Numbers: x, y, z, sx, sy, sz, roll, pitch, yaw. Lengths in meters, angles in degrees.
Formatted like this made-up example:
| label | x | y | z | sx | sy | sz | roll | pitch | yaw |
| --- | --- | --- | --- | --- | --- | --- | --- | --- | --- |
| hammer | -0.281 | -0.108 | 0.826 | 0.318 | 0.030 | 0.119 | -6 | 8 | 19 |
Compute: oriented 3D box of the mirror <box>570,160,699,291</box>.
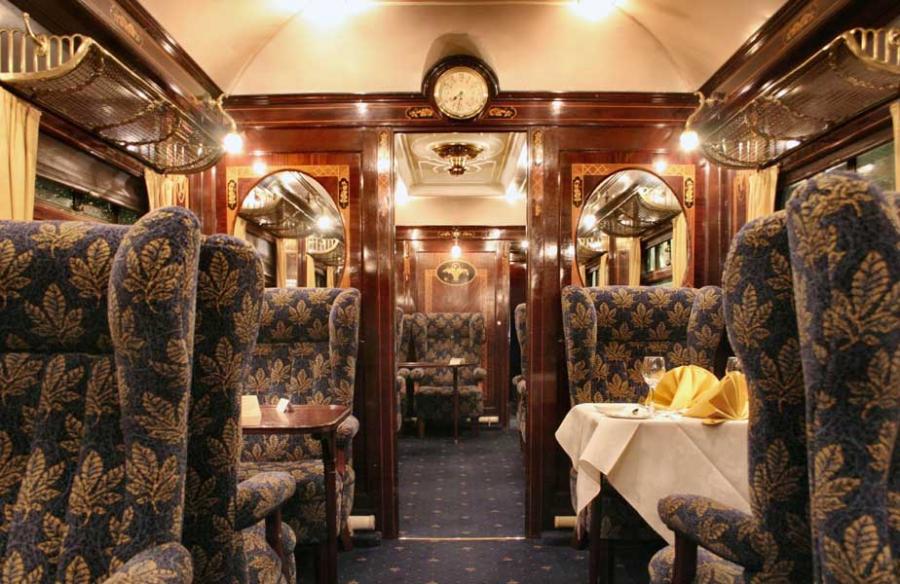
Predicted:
| label | x | y | z | sx | sy | sz | roll | pitch | yaw |
| --- | --- | --- | --- | --- | --- | --- | --- | --- | --- |
| mirror | 1.445 | -0.549 | 5.477 | 1.010 | 1.152 | 0.051 | -1 | 19 | 4 |

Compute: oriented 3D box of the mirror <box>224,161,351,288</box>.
| label | x | y | z | sx | sy | sz | roll | pitch | yaw |
| --- | --- | --- | --- | --- | --- | --- | --- | --- | --- |
| mirror | -1.198 | -0.611 | 6.038 | 0.872 | 1.265 | 1.324 | -2 | -4 | 9 |
